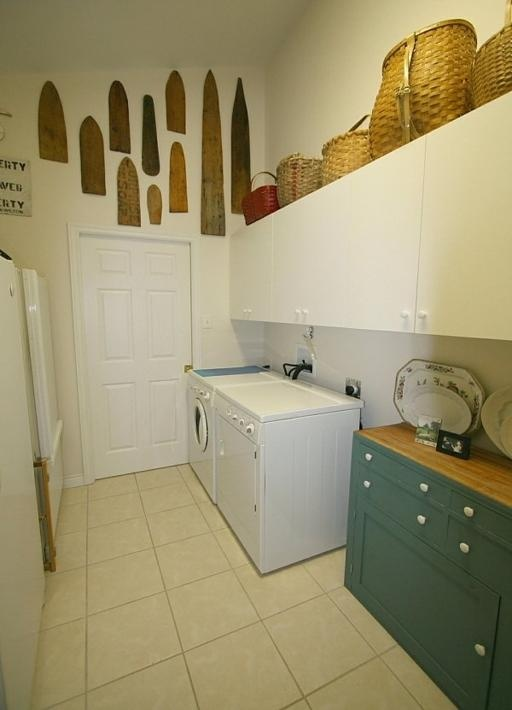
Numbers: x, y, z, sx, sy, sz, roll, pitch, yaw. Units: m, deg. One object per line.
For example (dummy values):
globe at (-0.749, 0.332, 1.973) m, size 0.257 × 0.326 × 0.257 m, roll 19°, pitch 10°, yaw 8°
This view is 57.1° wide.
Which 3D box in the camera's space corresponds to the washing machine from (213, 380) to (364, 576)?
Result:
washing machine at (0.113, 0.416, 2.603) m, size 0.586 × 1.129 × 0.837 m, roll -1°, pitch 7°, yaw -17°

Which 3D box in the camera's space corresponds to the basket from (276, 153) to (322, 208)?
basket at (0.206, -0.863, 2.398) m, size 0.232 × 0.293 × 0.215 m, roll -15°, pitch 20°, yaw -42°

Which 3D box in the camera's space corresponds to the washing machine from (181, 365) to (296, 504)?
washing machine at (-0.159, 0.437, 3.264) m, size 0.616 × 1.133 × 0.655 m, roll -1°, pitch 8°, yaw -20°

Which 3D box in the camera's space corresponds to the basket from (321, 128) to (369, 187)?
basket at (0.398, -0.801, 2.056) m, size 0.198 × 0.253 × 0.215 m, roll -1°, pitch 11°, yaw 36°
